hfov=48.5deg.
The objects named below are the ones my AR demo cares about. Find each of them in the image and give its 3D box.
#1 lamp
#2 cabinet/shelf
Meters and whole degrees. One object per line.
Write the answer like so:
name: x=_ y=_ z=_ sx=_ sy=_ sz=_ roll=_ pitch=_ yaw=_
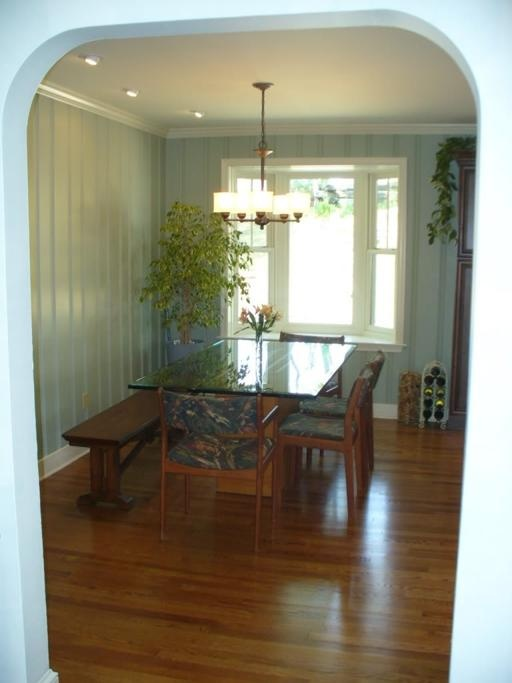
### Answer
lamp: x=0.038 y=-1.167 z=3.549 sx=0.559 sy=0.934 sz=0.665 roll=1 pitch=4 yaw=-5
cabinet/shelf: x=1.650 y=-0.346 z=4.556 sx=0.153 sy=2.217 sz=0.371 roll=3 pitch=8 yaw=19
